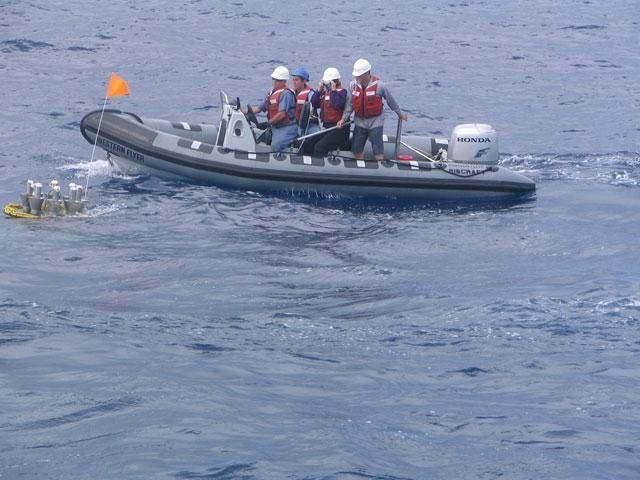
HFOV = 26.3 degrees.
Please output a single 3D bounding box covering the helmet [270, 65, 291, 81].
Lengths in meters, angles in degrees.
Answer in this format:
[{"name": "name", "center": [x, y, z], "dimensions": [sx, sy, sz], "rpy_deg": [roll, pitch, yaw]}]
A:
[{"name": "helmet", "center": [-0.735, -2.747, 23.187], "dimensions": [0.255, 0.215, 0.215], "rpy_deg": [2, 12, -7]}]
